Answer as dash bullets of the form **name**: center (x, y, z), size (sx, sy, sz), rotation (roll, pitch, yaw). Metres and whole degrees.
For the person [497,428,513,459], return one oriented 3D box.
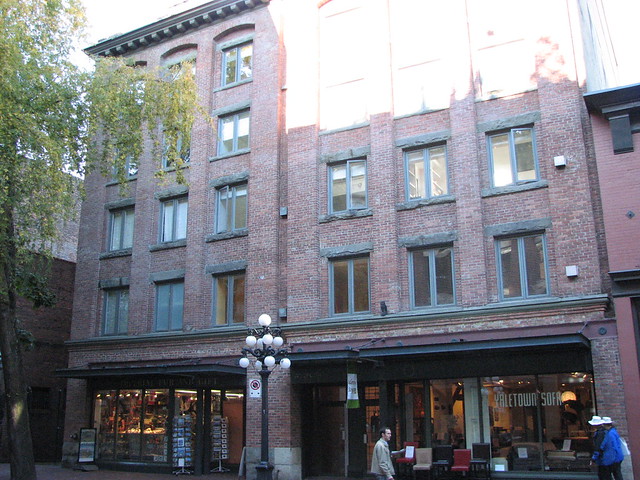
- **person**: center (6.286, 6.852, 21.436), size (0.497, 0.948, 0.152), rotation (-11, -22, 20)

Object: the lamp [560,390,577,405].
- **lamp**: center (8.160, 5.179, 20.861), size (0.407, 0.406, 0.405), rotation (-12, -11, 26)
